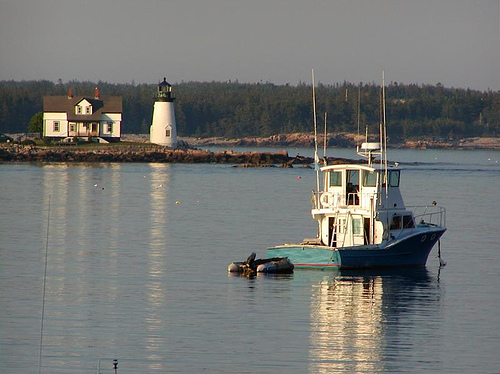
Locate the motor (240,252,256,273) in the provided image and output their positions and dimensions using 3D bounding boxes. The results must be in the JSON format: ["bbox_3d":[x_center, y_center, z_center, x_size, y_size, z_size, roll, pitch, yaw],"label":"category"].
[{"bbox_3d":[-0.164,5.068,101.031,0.543,1.492,0.622,18,-13,17],"label":"motor"}]

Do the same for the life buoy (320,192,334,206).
[{"bbox_3d":[5.161,0.855,101.419,0.855,0.781,0.171,-2,-4,36],"label":"life buoy"}]
